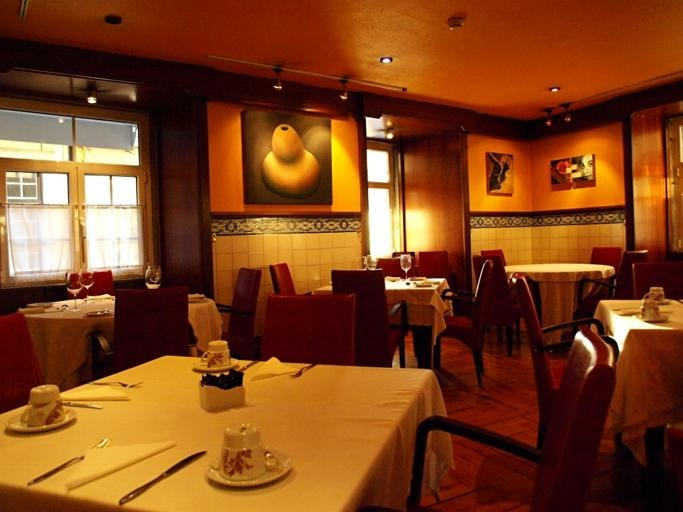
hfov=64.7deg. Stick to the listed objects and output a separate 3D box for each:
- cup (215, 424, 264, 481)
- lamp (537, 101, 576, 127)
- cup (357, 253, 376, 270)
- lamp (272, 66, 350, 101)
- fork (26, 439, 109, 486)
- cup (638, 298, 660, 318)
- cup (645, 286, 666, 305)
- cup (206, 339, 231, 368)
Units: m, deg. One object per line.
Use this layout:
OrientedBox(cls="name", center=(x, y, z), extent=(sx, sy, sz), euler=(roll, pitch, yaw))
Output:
OrientedBox(cls="cup", center=(-0.282, 0.588, 1.639), extent=(0.172, 0.138, 0.141), euler=(-2, 3, -20))
OrientedBox(cls="lamp", center=(3.098, -2.025, 7.737), extent=(0.421, 0.302, 0.817), euler=(6, 13, 23))
OrientedBox(cls="cup", center=(0.233, 0.053, 4.804), extent=(0.122, 0.135, 0.128), euler=(-1, -4, 0))
OrientedBox(cls="lamp", center=(-0.302, -1.874, 5.873), extent=(1.086, 0.282, 0.457), euler=(-6, 14, -28))
OrientedBox(cls="fork", center=(-0.839, 0.639, 1.649), extent=(0.036, 0.031, 0.332), euler=(26, 9, 9))
OrientedBox(cls="cup", center=(1.658, 0.286, 2.895), extent=(0.078, 0.112, 0.104), euler=(1, -9, -7))
OrientedBox(cls="cup", center=(1.888, 0.237, 3.237), extent=(0.090, 0.090, 0.096), euler=(1, -3, 0))
OrientedBox(cls="cup", center=(-0.527, 0.418, 2.292), extent=(0.075, 0.108, 0.117), euler=(0, -1, -21))
